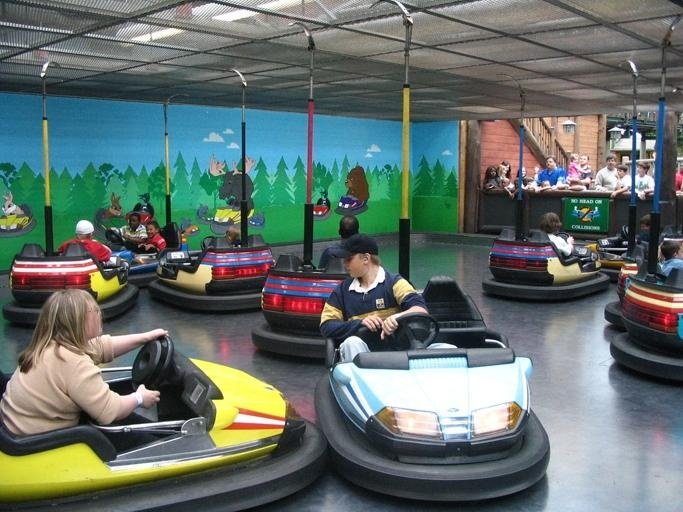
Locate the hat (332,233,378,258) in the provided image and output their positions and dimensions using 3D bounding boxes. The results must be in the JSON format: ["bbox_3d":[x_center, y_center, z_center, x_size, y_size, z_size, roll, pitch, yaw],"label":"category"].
[{"bbox_3d":[0.091,-0.062,3.113,0.188,0.103,0.127,2,4,-3],"label":"hat"}]

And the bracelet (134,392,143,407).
[{"bbox_3d":[-0.831,0.588,2.300,0.041,0.051,0.041,10,-22,-16],"label":"bracelet"}]

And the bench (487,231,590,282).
[{"bbox_3d":[2.312,-0.007,6.543,1.125,0.626,0.529,0,8,13],"label":"bench"}]

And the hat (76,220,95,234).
[{"bbox_3d":[-3.071,-0.350,6.680,0.213,0.147,0.279,-8,32,-29],"label":"hat"}]
